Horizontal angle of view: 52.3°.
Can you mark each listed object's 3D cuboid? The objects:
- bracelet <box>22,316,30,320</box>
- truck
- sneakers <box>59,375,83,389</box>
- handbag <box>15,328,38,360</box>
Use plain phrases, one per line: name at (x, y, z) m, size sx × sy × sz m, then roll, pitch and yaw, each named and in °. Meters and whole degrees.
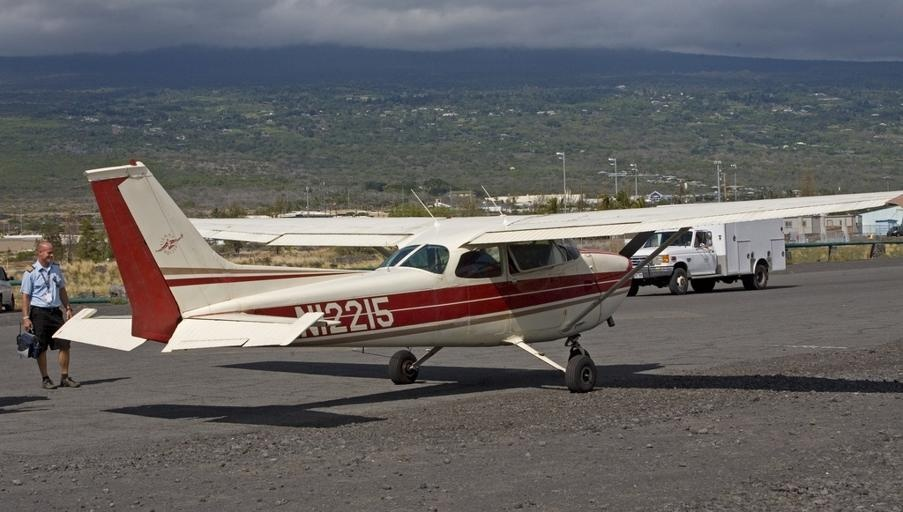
bracelet at (-8.342, 1.212, 18.134) m, size 0.083 × 0.071 × 0.190 m, roll -7°, pitch 10°, yaw -29°
truck at (9.116, -0.012, 35.780) m, size 8.459 × 2.460 × 3.703 m, roll 1°, pitch -3°, yaw -33°
sneakers at (-7.662, 2.554, 18.768) m, size 0.566 × 0.171 × 0.211 m, roll 5°, pitch 6°, yaw 15°
handbag at (-8.316, 1.742, 18.143) m, size 0.354 × 0.545 × 0.370 m, roll -5°, pitch 10°, yaw -12°
